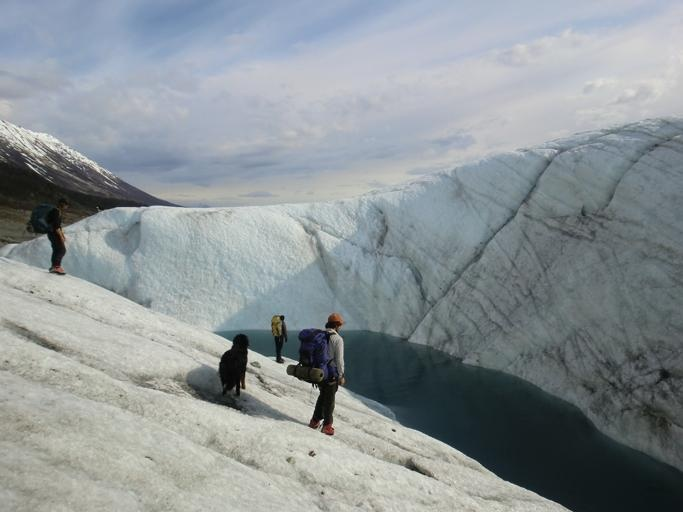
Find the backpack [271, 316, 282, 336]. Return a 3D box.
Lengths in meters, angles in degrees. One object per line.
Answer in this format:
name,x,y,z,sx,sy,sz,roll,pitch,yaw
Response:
backpack,-2.608,2.866,21.637,0.474,0.783,0.370,16,8,31
